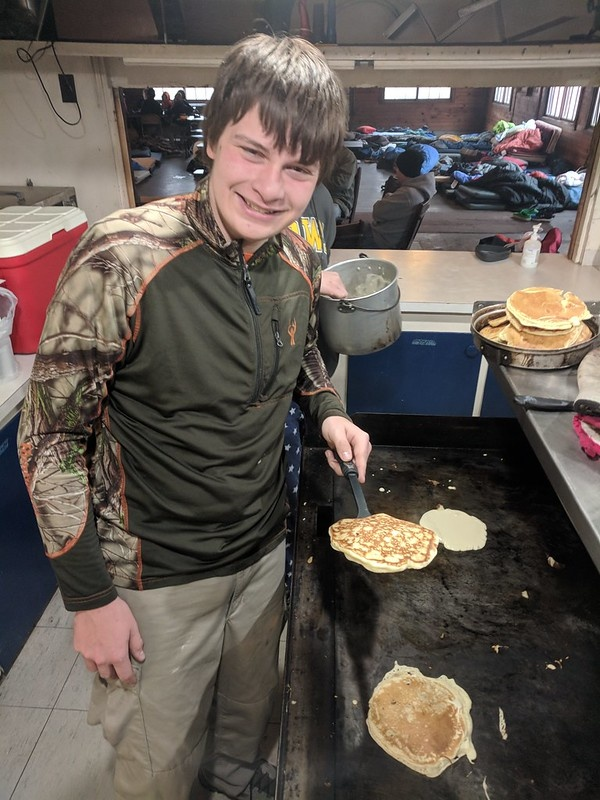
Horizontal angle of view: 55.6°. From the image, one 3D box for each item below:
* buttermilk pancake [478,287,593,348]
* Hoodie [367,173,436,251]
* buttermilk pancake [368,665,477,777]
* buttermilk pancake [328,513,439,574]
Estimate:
[{"bbox_3d":[0.581,-0.194,1.373,0.209,0.061,0.202,-5,34,16],"label":"buttermilk pancake"},{"bbox_3d":[0.639,-1.191,3.673,0.431,0.478,0.568,3,30,8],"label":"Hoodie"},{"bbox_3d":[0.223,0.563,0.996,0.184,0.019,0.185,18,34,31],"label":"buttermilk pancake"},{"bbox_3d":[0.159,0.288,1.153,0.174,0.040,0.146,17,17,27],"label":"buttermilk pancake"}]
